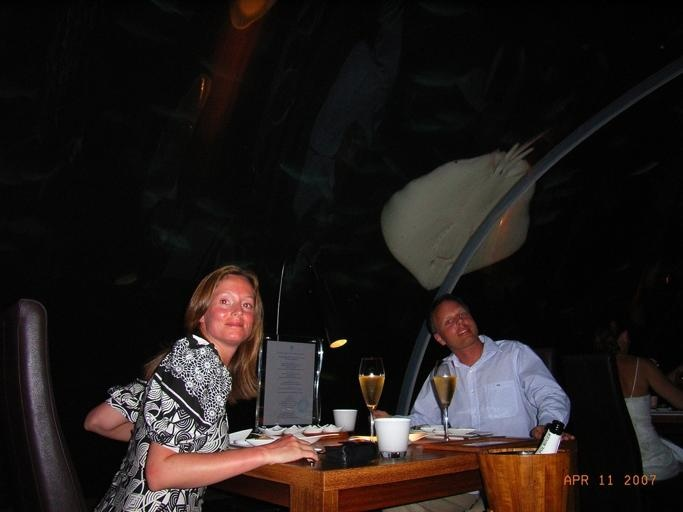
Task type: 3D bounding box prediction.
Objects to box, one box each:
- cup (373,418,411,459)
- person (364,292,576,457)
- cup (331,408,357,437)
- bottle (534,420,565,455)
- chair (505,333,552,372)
[{"bbox_3d":[0.185,0.663,1.776,0.138,0.123,0.135,1,-16,0],"label":"cup"},{"bbox_3d":[0.863,0.835,3.227,1.227,1.134,0.718,-19,-21,20],"label":"person"},{"bbox_3d":[0.017,0.840,2.472,0.117,0.092,0.115,2,-18,1],"label":"cup"},{"bbox_3d":[0.699,0.594,1.604,0.087,0.097,0.051,-6,-13,22],"label":"bottle"},{"bbox_3d":[1.403,0.685,3.482,0.288,0.314,0.360,-7,-3,45],"label":"chair"}]
